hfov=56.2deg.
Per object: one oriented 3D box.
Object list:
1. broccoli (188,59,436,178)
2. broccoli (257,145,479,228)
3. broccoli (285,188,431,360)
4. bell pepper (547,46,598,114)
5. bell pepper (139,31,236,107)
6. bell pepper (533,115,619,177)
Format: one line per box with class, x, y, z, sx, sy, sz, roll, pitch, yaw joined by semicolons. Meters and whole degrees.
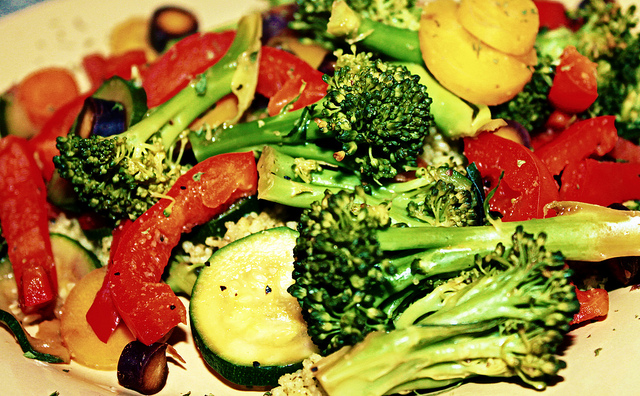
broccoli;0.026;-0.414;3.221;1.041;0.471;0.617;-9;40;-1
broccoli;0.262;-0.072;3.327;1.109;0.486;0.326;5;102;2
broccoli;0.152;0.358;3.027;0.634;0.371;0.709;-18;68;-11
bell pepper;1.464;-0.653;3.380;0.158;0.293;0.342;-7;99;7
bell pepper;-0.772;-0.731;3.446;0.553;0.273;0.410;-17;108;-40
bell pepper;1.447;-0.301;3.357;0.280;0.106;0.443;36;90;13
